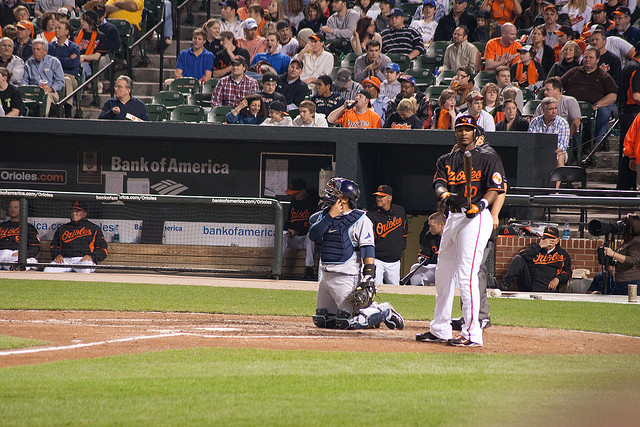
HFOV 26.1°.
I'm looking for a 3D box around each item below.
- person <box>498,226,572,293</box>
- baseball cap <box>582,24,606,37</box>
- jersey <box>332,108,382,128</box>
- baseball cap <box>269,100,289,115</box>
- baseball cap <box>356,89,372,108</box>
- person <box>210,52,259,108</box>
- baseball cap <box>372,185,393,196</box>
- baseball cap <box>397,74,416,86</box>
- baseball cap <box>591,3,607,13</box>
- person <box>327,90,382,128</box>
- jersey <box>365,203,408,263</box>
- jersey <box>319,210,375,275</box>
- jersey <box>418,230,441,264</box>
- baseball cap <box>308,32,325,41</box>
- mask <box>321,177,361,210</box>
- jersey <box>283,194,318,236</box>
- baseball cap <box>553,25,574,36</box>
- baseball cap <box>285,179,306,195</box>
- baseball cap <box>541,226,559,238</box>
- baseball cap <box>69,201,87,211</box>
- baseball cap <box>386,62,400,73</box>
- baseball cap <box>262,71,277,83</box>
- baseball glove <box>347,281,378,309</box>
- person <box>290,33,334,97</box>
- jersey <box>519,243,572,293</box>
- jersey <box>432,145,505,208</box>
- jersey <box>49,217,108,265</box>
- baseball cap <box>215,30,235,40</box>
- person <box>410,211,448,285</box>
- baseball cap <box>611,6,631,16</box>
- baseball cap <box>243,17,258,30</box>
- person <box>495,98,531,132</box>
[{"bbox_3d":[3.994,0.867,25.836,1.339,1.376,0.985,10,-8,1],"label":"person"},{"bbox_3d":[5.789,-3.877,29.227,0.433,0.232,0.265,2,8,13],"label":"baseball cap"},{"bbox_3d":[0.754,-1.918,27.662,0.914,0.380,0.526,4,-1,1],"label":"jersey"},{"bbox_3d":[-0.814,-2.119,27.560,0.384,0.294,0.276,4,-1,-10],"label":"baseball cap"},{"bbox_3d":[0.920,-2.319,27.750,0.247,0.299,0.333,13,-2,10],"label":"baseball cap"},{"bbox_3d":[-1.736,-2.664,28.408,1.140,1.251,1.142,2,12,-5],"label":"person"},{"bbox_3d":[1.248,-0.452,26.824,0.298,0.174,0.191,7,0,-4],"label":"baseball cap"},{"bbox_3d":[1.746,-2.680,27.662,0.320,0.174,0.186,20,3,-13],"label":"baseball cap"},{"bbox_3d":[5.962,-4.416,29.494,0.210,0.153,0.298,1,-2,40],"label":"baseball cap"},{"bbox_3d":[0.699,-2.111,27.749,1.067,0.735,0.682,4,-1,6],"label":"person"},{"bbox_3d":[1.242,0.361,26.026,0.988,1.243,0.654,-5,6,12],"label":"jersey"},{"bbox_3d":[0.374,0.407,22.647,1.034,1.054,0.598,3,2,21],"label":"jersey"},{"bbox_3d":[2.079,0.631,26.023,0.401,0.545,0.313,29,32,34],"label":"jersey"},{"bbox_3d":[-0.052,-3.880,30.298,0.228,0.198,0.382,2,-4,40],"label":"baseball cap"},{"bbox_3d":[0.331,-0.365,22.620,0.600,0.539,0.516,12,18,0],"label":"mask"},{"bbox_3d":[-0.389,-0.017,27.807,0.566,0.785,0.192,-3,-20,39],"label":"jersey"},{"bbox_3d":[5.166,-3.870,29.124,0.320,0.177,0.212,0,2,1],"label":"baseball cap"},{"bbox_3d":[-0.482,-0.564,28.095,0.346,0.203,0.230,-8,5,-11],"label":"baseball cap"},{"bbox_3d":[4.263,0.326,25.483,0.279,0.192,0.211,4,-1,4],"label":"baseball cap"},{"bbox_3d":[-4.707,-0.147,27.060,0.239,0.095,0.166,15,-4,-20],"label":"baseball cap"},{"bbox_3d":[1.508,-3.050,28.788,0.246,0.196,0.456,4,-1,5],"label":"baseball cap"},{"bbox_3d":[-1.033,-2.773,28.035,0.267,0.213,0.343,4,-1,-6],"label":"baseball cap"},{"bbox_3d":[0.699,1.338,22.544,0.652,0.383,0.732,4,-3,-8],"label":"baseball glove"},{"bbox_3d":[-0.155,-3.132,29.897,0.888,1.484,0.725,2,-4,-30],"label":"person"},{"bbox_3d":[4.190,0.948,25.778,0.967,0.895,0.534,16,7,10],"label":"jersey"},{"bbox_3d":[2.354,-0.590,21.861,1.222,1.029,0.456,5,16,24],"label":"jersey"},{"bbox_3d":[-4.737,0.500,27.098,1.135,0.949,0.643,1,2,8],"label":"jersey"},{"bbox_3d":[-2.028,-3.877,30.027,0.303,0.213,0.487,4,-1,-15],"label":"baseball cap"},{"bbox_3d":[2.115,0.882,26.394,0.977,1.758,0.624,-1,1,-4],"label":"person"},{"bbox_3d":[6.371,-4.264,29.043,0.295,0.162,0.214,2,3,-12],"label":"baseball cap"},{"bbox_3d":[-1.537,-4.175,30.315,0.277,0.259,0.409,4,-1,-4],"label":"baseball cap"},{"bbox_3d":[3.796,-1.936,27.062,0.712,0.622,0.497,4,-1,-6],"label":"person"}]
